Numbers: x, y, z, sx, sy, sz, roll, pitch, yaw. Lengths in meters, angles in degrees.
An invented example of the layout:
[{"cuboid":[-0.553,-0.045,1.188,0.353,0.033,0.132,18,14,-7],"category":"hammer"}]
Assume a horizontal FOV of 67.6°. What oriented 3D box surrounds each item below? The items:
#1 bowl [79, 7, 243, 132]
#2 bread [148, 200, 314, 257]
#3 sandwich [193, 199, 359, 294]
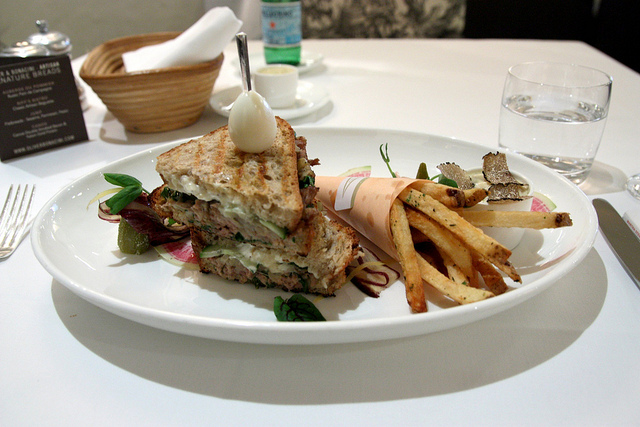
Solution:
[{"cuboid":[-0.814,-0.760,2.632,0.652,0.530,0.833,25,36,37],"category":"bowl"},{"cuboid":[-0.293,0.025,1.721,0.388,0.191,0.508,-7,12,-40],"category":"bread"},{"cuboid":[-0.153,0.147,1.752,0.452,0.131,0.345,11,28,-5],"category":"sandwich"}]
